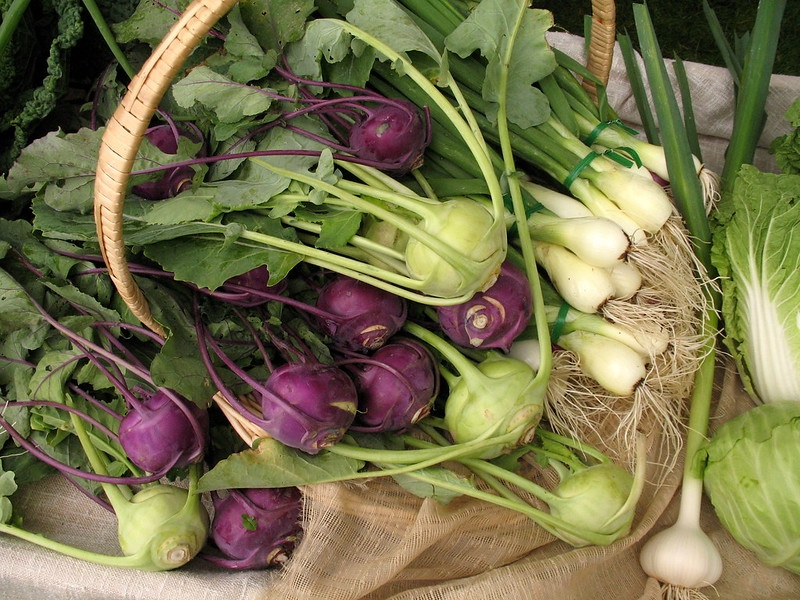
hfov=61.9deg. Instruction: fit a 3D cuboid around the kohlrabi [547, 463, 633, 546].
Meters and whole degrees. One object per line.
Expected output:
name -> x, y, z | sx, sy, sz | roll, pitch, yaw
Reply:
kohlrabi -> 0.345, 0.381, 1.282 | 0.140, 0.158, 0.091 | 38, 31, -8
